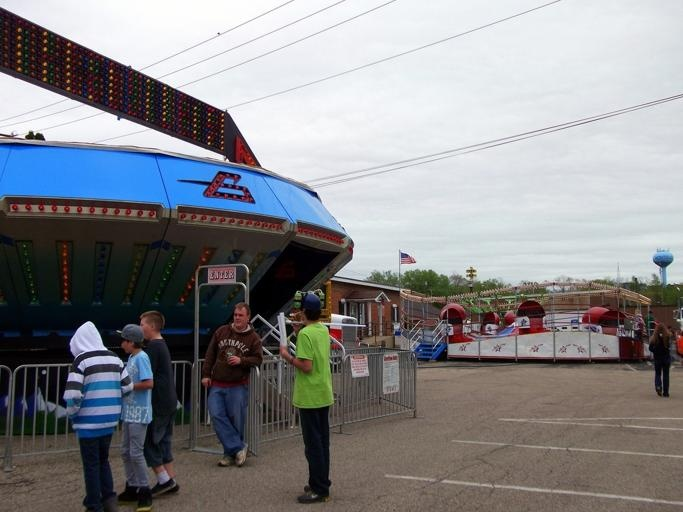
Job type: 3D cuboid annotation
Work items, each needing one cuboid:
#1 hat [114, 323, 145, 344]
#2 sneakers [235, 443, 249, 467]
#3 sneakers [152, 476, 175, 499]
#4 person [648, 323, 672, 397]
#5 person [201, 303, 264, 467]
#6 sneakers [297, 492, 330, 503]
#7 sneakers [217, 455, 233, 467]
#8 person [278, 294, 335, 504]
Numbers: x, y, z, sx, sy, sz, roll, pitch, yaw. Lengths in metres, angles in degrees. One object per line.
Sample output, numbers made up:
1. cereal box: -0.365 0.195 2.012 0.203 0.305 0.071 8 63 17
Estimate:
1. hat: -2.530 0.931 6.285 0.302 0.162 0.209 13 7 14
2. sneakers: -1.456 2.926 7.796 0.130 0.275 0.102 13 -30 -9
3. sneakers: -2.156 2.818 6.498 0.354 0.138 0.131 -12 -4 -31
4. person: 8.497 2.724 14.003 0.520 1.894 1.125 -6 -8 31
5. person: -1.618 1.881 7.836 0.869 2.324 0.355 -5 -8 19
6. sneakers: -0.322 2.804 6.245 0.360 0.167 0.129 5 -7 0
7. sneakers: -1.714 2.970 7.717 0.260 0.144 0.139 -5 -8 20
8. person: -0.340 1.672 6.330 0.462 2.398 0.256 -1 -7 -5
